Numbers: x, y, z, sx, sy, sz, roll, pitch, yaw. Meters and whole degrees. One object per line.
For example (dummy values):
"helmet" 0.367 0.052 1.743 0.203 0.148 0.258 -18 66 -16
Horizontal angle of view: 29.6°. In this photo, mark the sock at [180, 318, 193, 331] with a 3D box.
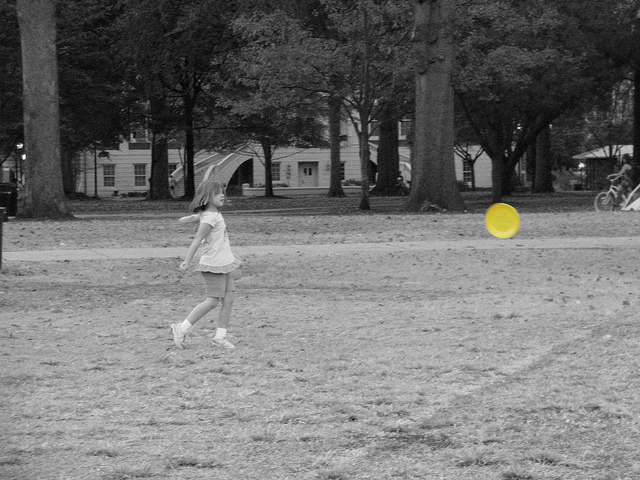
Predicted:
"sock" -1.691 1.081 15.364 0.138 0.138 0.139 5 15 14
